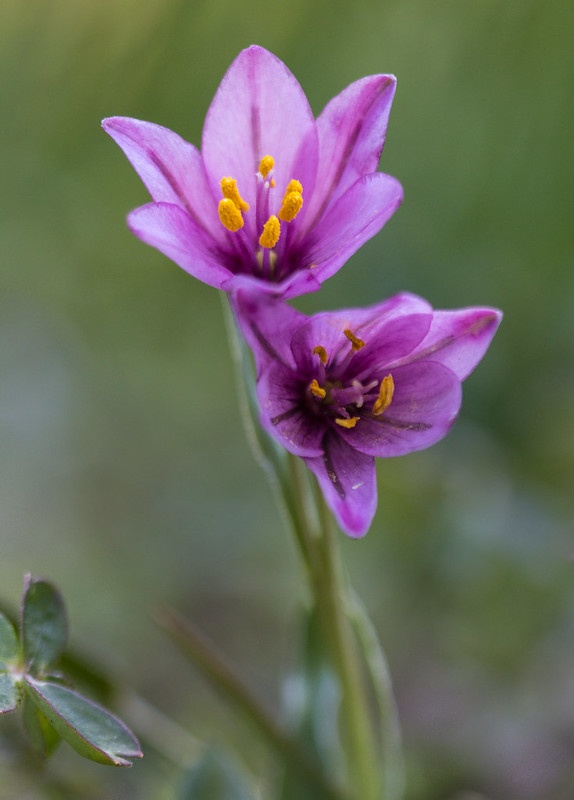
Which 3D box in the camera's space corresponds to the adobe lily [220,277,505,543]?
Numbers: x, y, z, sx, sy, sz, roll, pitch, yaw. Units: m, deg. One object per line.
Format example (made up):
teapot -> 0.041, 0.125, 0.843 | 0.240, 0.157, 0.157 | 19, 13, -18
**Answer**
adobe lily -> 0.057, -0.007, 0.894 | 0.269, 0.294, 0.135 | 31, -30, -23
